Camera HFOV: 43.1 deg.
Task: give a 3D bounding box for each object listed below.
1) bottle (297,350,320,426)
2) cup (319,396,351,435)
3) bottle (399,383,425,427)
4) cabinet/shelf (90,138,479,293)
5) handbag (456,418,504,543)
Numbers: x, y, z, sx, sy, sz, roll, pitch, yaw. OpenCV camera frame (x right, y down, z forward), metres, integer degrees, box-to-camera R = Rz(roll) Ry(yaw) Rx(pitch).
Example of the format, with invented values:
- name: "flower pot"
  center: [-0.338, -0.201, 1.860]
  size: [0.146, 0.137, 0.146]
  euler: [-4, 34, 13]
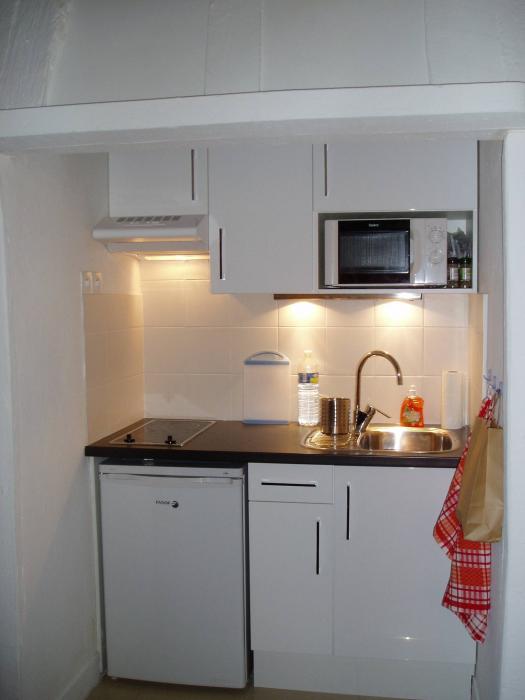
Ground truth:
- name: "bottle"
  center: [0.190, 0.158, 2.765]
  size: [0.094, 0.306, 0.102]
  euler: [-1, 3, 0]
- name: "cup"
  center: [0.273, 0.253, 2.558]
  size: [0.122, 0.146, 0.127]
  euler: [1, 1, 0]
- name: "bottle"
  center: [0.580, 0.228, 2.671]
  size: [0.108, 0.174, 0.117]
  euler: [14, 4, -1]
- name: "cabinet/shelf"
  center: [0.046, -0.445, 2.462]
  size: [1.375, 0.574, 0.248]
  euler: [-1, -8, 6]
- name: "handbag"
  center: [0.582, 0.342, 1.788]
  size: [0.109, 0.297, 0.235]
  euler: [0, 3, 16]
